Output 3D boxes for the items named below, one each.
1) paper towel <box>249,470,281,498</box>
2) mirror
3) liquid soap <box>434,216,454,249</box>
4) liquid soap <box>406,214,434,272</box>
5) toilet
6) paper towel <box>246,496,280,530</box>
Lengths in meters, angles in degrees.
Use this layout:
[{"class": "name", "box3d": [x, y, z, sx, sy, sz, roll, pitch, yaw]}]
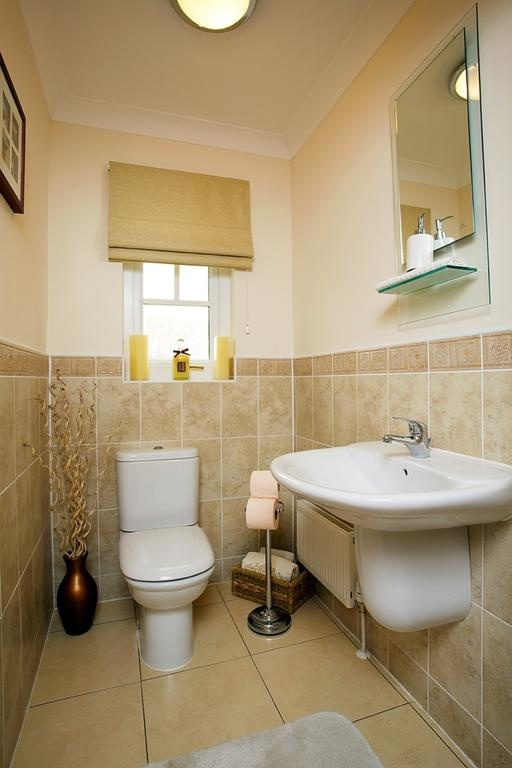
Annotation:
[{"class": "paper towel", "box3d": [0.043, 0.415, 2.080, 0.129, 0.167, 0.112, -3, -14, 12]}, {"class": "mirror", "box3d": [0.509, -0.657, 1.515, 0.061, 0.606, 0.418, -1, 3, -12]}, {"class": "liquid soap", "box3d": [0.514, -0.420, 1.456, 0.025, 0.088, 0.073, -2, 3, -20]}, {"class": "liquid soap", "box3d": [0.471, -0.396, 1.489, 0.050, 0.163, 0.057, -11, -10, 35]}, {"class": "toilet", "box3d": [-0.352, 0.653, 1.998, 0.262, 0.719, 0.550, -2, 7, -19]}, {"class": "paper towel", "box3d": [0.016, 0.493, 2.027, 0.109, 0.132, 0.104, -1, -13, 8]}]
